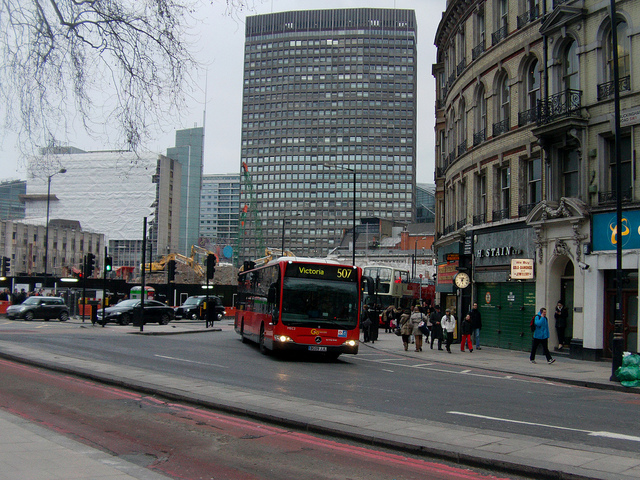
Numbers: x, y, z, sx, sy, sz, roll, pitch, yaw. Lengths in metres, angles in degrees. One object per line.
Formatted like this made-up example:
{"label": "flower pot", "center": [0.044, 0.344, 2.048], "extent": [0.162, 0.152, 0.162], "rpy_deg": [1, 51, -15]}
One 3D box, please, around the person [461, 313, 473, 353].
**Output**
{"label": "person", "center": [6.499, 4.124, 37.851], "extent": [0.479, 1.680, 1.194], "rpy_deg": [2, -5, 10]}

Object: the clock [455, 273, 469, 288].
{"label": "clock", "center": [6.743, 1.908, 40.682], "extent": [0.490, 0.526, 0.206], "rpy_deg": [24, -9, -19]}

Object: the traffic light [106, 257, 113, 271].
{"label": "traffic light", "center": [-11.332, 1.271, 45.654], "extent": [0.288, 0.714, 0.885], "rpy_deg": [4, -6, -18]}

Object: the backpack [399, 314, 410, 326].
{"label": "backpack", "center": [3.740, 3.568, 37.999], "extent": [0.117, 0.450, 0.308], "rpy_deg": [26, -6, -13]}

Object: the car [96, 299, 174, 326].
{"label": "car", "center": [-10.657, 4.294, 49.954], "extent": [1.668, 1.579, 4.391], "rpy_deg": [-2, -3, 37]}

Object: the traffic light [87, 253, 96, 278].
{"label": "traffic light", "center": [-12.926, 1.330, 47.916], "extent": [0.273, 1.224, 1.690], "rpy_deg": [4, -5, -14]}

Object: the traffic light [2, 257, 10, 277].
{"label": "traffic light", "center": [-21.140, 1.782, 57.212], "extent": [0.366, 1.334, 1.921], "rpy_deg": [4, -6, -22]}

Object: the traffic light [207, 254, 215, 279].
{"label": "traffic light", "center": [-5.981, 1.380, 46.530], "extent": [0.334, 1.309, 1.388], "rpy_deg": [3, -5, -11]}

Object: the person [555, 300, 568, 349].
{"label": "person", "center": [9.841, 3.444, 34.882], "extent": [0.495, 2.017, 0.841], "rpy_deg": [1, -5, 15]}
